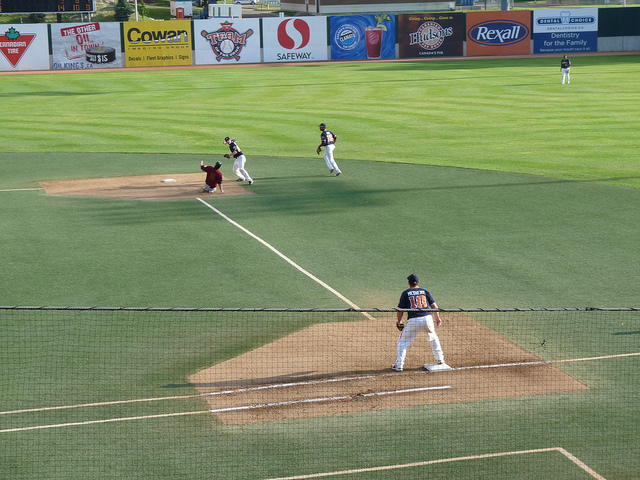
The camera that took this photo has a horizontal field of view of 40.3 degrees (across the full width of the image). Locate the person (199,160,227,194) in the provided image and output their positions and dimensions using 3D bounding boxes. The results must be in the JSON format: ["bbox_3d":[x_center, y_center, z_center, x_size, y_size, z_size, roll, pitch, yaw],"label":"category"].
[{"bbox_3d":[-3.465,-1.969,27.850,0.816,1.055,1.497,-5,13,-6],"label":"person"}]

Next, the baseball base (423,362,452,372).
[{"bbox_3d":[2.271,2.428,16.727,0.522,0.141,0.220,-2,12,-2],"label":"baseball base"}]

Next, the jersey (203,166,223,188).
[{"bbox_3d":[-3.459,-1.987,27.733,0.486,0.718,0.814,6,16,30],"label":"jersey"}]

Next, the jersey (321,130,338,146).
[{"bbox_3d":[0.254,-3.412,28.946,0.675,0.404,0.190,-1,0,-30],"label":"jersey"}]

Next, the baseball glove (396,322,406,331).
[{"bbox_3d":[1.551,1.650,16.662,0.211,0.065,0.219,0,5,3],"label":"baseball glove"}]
